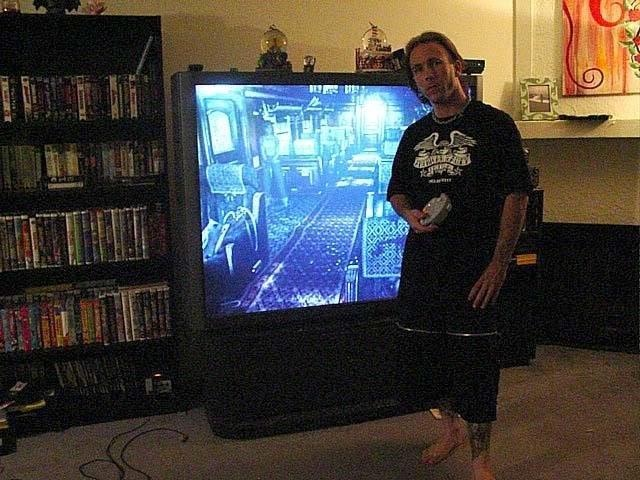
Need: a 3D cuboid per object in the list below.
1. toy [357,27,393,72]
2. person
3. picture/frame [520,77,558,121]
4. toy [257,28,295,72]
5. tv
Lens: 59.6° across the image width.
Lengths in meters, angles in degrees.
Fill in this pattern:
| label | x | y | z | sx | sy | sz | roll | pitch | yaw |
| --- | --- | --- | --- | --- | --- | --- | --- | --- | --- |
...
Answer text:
| label | x | y | z | sx | sy | sz | roll | pitch | yaw |
| --- | --- | --- | --- | --- | --- | --- | --- | --- | --- |
| toy | 0.309 | -1.110 | 3.239 | 0.203 | 0.305 | 0.541 | -2 | 13 | 4 |
| person | 0.567 | 0.083 | 2.411 | 0.595 | 1.880 | 0.386 | 8 | 18 | 36 |
| picture/frame | 1.461 | -0.923 | 3.722 | 0.365 | 0.360 | 0.040 | 0 | -6 | 0 |
| toy | -0.249 | -1.002 | 2.946 | 0.171 | 0.261 | 0.348 | -3 | 14 | -3 |
| tv | 0.002 | -0.208 | 2.721 | 1.602 | 1.002 | 0.191 | -2 | 11 | -9 |
